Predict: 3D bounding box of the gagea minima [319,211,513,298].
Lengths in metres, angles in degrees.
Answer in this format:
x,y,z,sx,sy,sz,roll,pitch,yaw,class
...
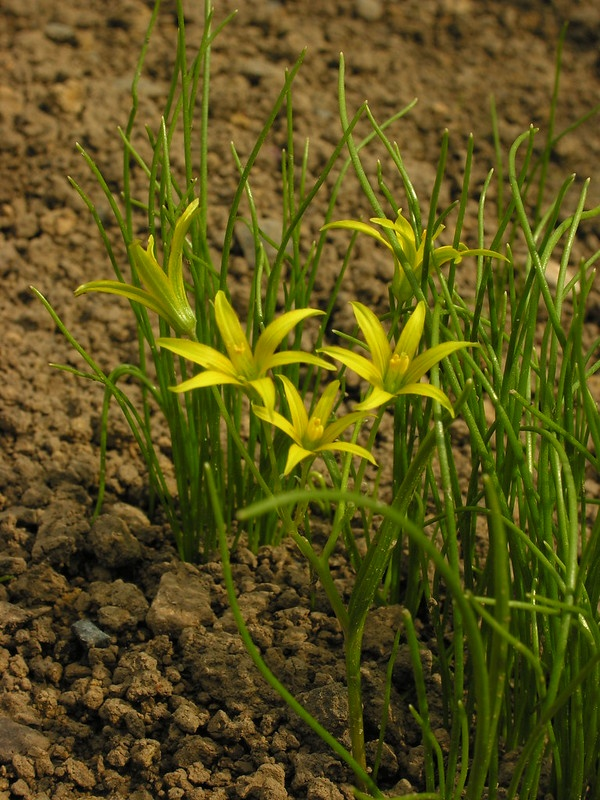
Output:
x,y,z,sx,sy,sz,roll,pitch,yaw,class
0.156,-0.211,1.320,0.225,0.134,0.204,-1,17,-41,gagea minima

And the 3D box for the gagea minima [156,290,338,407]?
x,y,z,sx,sy,sz,roll,pitch,yaw,class
-0.055,-0.065,1.176,0.177,0.071,0.159,14,56,19,gagea minima

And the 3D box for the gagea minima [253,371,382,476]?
x,y,z,sx,sy,sz,roll,pitch,yaw,class
0.016,0.048,1.145,0.154,0.069,0.144,25,23,2,gagea minima

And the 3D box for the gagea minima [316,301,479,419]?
x,y,z,sx,sy,sz,roll,pitch,yaw,class
0.110,-0.027,1.161,0.171,0.167,0.076,20,58,-16,gagea minima
